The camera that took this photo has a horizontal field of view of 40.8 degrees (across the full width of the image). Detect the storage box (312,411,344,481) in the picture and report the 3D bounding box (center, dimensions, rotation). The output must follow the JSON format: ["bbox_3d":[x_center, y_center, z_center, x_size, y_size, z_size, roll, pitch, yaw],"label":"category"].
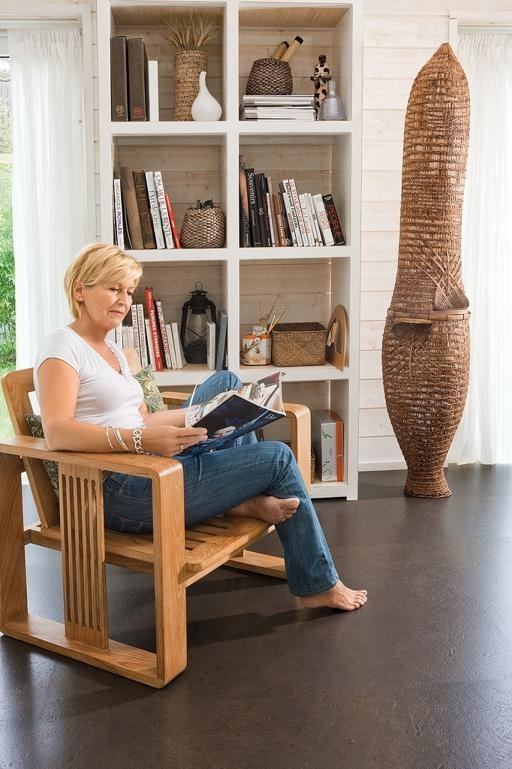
[{"bbox_3d":[0.313,0.269,2.905,0.099,0.263,0.231,-4,19,-4],"label":"storage box"}]

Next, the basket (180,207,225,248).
[{"bbox_3d":[-0.208,-0.609,2.720,0.179,0.159,0.172,0,3,-3],"label":"basket"}]

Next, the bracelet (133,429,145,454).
[{"bbox_3d":[-0.255,0.131,1.519,0.017,0.042,0.039,-2,-2,-5],"label":"bracelet"}]

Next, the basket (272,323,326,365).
[{"bbox_3d":[0.186,-0.163,2.916,0.209,0.124,0.202,0,1,0],"label":"basket"}]

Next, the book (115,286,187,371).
[{"bbox_3d":[-0.378,-0.237,2.881,0.334,0.421,0.332,0,7,-1],"label":"book"}]

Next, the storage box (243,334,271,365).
[{"bbox_3d":[0.014,-0.142,2.863,0.127,0.112,0.121,0,2,2],"label":"storage box"}]

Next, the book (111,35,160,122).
[{"bbox_3d":[-0.449,-1.115,2.542,0.170,0.287,0.110,-3,9,-22],"label":"book"}]

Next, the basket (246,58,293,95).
[{"bbox_3d":[0.057,-1.201,2.750,0.175,0.121,0.168,-1,6,-8],"label":"basket"}]

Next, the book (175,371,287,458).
[{"bbox_3d":[-0.054,0.086,1.597,0.234,0.198,0.267,0,8,-2],"label":"book"}]

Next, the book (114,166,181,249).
[{"bbox_3d":[-0.415,-0.678,2.661,0.218,0.301,0.067,1,8,6],"label":"book"}]

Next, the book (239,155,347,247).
[{"bbox_3d":[0.149,-0.706,2.772,0.434,0.301,0.150,0,8,-3],"label":"book"}]

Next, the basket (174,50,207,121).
[{"bbox_3d":[-0.257,-1.169,2.707,0.124,0.298,0.206,-1,8,-7],"label":"basket"}]

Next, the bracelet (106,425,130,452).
[{"bbox_3d":[-0.307,0.117,1.527,0.020,0.049,0.043,-27,18,-18],"label":"bracelet"}]
